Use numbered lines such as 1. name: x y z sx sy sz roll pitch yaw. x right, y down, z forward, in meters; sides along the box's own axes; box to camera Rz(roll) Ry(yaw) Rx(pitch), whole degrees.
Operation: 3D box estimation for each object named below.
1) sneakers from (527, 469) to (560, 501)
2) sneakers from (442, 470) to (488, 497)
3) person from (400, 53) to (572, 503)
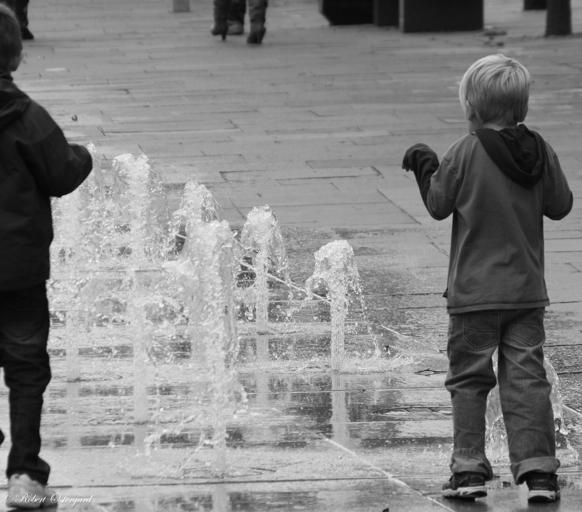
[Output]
1. sneakers: 1.169 1.078 8.828 0.087 0.084 0.217 0 1 20
2. sneakers: 0.821 1.078 8.902 0.229 0.091 0.097 -3 -6 38
3. person: 0.956 0.107 9.048 0.770 2.067 0.437 -1 3 6
